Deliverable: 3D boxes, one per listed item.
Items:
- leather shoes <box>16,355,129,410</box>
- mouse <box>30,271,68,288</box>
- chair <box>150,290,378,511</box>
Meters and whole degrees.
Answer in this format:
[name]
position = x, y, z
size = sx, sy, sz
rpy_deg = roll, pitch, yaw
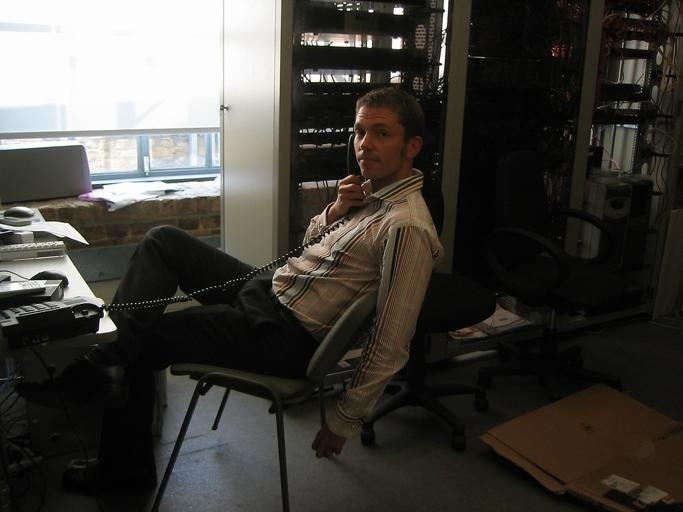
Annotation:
[leather shoes]
position = -0.946, 0.470, 1.974
size = 0.274, 0.112, 0.278
rpy_deg = -2, 6, -8
[mouse]
position = -1.048, 0.072, 1.948
size = 0.098, 0.035, 0.070
rpy_deg = 8, 8, -4
[chair]
position = -0.383, 0.523, 2.137
size = 0.792, 0.897, 0.823
rpy_deg = -9, 16, -23
